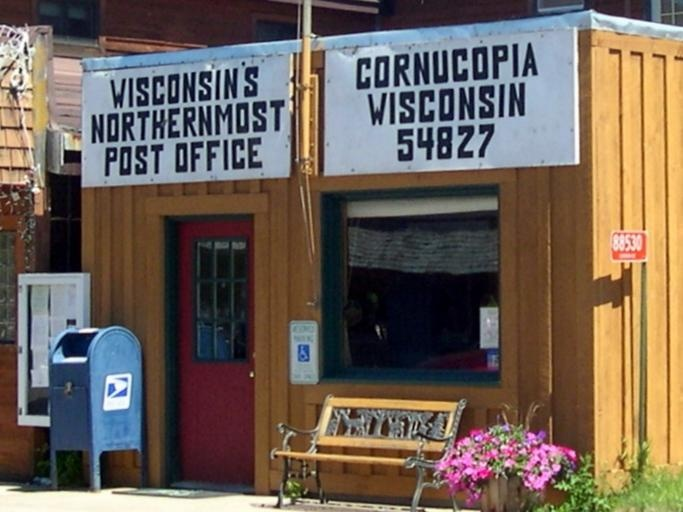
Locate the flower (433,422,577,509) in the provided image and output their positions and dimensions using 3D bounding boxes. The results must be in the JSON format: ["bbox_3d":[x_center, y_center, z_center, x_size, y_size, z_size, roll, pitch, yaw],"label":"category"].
[{"bbox_3d":[1.763,2.210,16.242,0.940,0.643,1.011,9,23,29],"label":"flower"}]
